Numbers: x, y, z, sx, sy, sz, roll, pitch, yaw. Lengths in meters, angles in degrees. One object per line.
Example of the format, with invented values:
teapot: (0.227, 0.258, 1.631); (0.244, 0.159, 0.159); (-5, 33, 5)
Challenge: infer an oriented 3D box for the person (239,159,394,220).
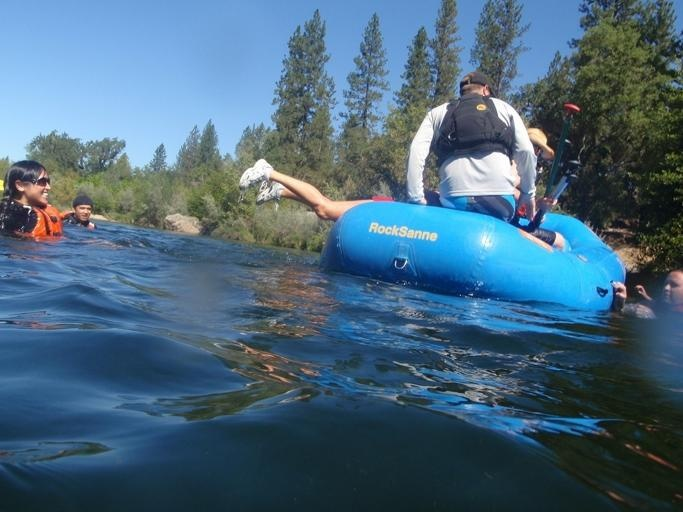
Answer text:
person: (-0.473, -0.837, 5.931); (2.144, 0.642, 0.738); (15, 2, 31)

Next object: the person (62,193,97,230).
person: (-3.800, -0.658, 7.300); (0.411, 0.413, 0.692); (16, -3, -31)

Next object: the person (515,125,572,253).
person: (2.063, -0.663, 5.115); (0.342, 1.171, 0.983); (-20, -29, 40)
